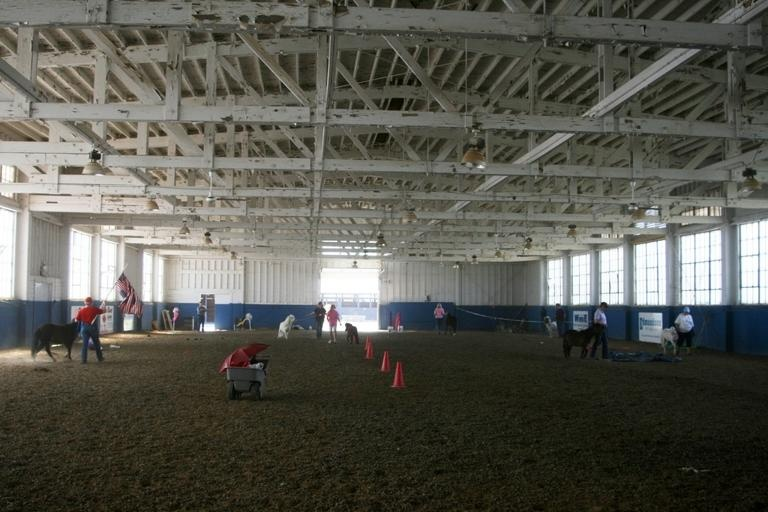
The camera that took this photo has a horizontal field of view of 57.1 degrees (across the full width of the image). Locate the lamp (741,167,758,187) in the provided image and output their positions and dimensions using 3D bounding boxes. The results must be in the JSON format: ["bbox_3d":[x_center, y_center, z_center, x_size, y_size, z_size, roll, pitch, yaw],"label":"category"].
[{"bbox_3d":[9.516,-2.008,18.110,0.380,0.495,0.734,5,9,27],"label":"lamp"}]

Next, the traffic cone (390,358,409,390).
[{"bbox_3d":[0.386,2.997,17.348,0.536,0.641,0.534,1,-14,0],"label":"traffic cone"}]

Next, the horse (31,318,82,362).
[{"bbox_3d":[-9.949,2.599,21.799,1.945,1.093,0.526,1,-8,-40],"label":"horse"}]

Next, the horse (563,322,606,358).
[{"bbox_3d":[6.621,2.728,22.961,1.617,0.991,0.499,-16,-12,41],"label":"horse"}]

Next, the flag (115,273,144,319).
[{"bbox_3d":[-9.736,1.546,26.804,0.818,1.927,2.394,-2,9,-20],"label":"flag"}]

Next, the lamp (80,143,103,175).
[{"bbox_3d":[-7.359,-2.402,17.822,0.398,0.628,1.176,-3,8,-22],"label":"lamp"}]

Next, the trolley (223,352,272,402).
[{"bbox_3d":[-3.084,2.747,15.661,0.691,0.807,1.185,-1,-23,-1],"label":"trolley"}]

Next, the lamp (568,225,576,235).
[{"bbox_3d":[7.281,-0.955,26.949,0.258,0.418,0.933,3,8,15],"label":"lamp"}]
